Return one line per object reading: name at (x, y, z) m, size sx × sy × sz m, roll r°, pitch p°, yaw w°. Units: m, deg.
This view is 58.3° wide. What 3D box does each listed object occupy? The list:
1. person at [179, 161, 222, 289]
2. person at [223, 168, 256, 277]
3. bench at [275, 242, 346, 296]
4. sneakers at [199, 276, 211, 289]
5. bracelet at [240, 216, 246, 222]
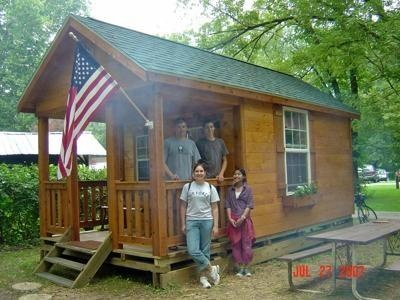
person at (-0.008, 1.395, 6.743) m, size 0.720 × 1.748 × 0.471 m, roll -1°, pitch 0°, yaw 3°
person at (0.823, 1.490, 7.419) m, size 0.601 × 1.774 × 0.392 m, roll -1°, pitch -1°, yaw 7°
bench at (2.443, 2.236, 7.205) m, size 2.280 × 0.578 × 0.294 m, roll 2°, pitch -10°, yaw -40°
sneakers at (0.105, 2.444, 6.640) m, size 0.220 × 0.155 × 0.272 m, roll -1°, pitch 0°, yaw 0°
bracelet at (0.876, 1.380, 7.241) m, size 0.127 × 0.133 × 0.070 m, roll 0°, pitch 5°, yaw -30°
